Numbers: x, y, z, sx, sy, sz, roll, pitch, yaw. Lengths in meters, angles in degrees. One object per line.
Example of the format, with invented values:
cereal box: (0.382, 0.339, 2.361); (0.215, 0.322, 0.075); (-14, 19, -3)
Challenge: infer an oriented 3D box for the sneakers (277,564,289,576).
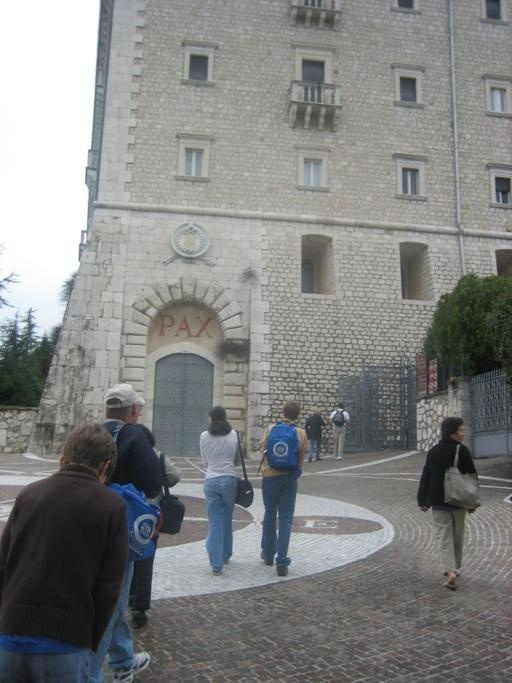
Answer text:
sneakers: (0.230, 1.976, 5.445); (0.045, 0.060, 0.137); (1, -4, 8)

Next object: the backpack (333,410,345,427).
backpack: (2.433, 2.247, 18.398); (0.400, 0.487, 0.258); (1, -8, 13)

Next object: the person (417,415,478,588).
person: (1.706, 1.299, 5.474); (0.472, 1.281, 0.631); (2, -8, 0)

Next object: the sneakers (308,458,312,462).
sneakers: (1.638, 3.527, 18.711); (0.104, 0.189, 0.177); (0, -1, 7)

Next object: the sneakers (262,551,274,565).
sneakers: (0.117, 2.033, 5.917); (0.064, 0.079, 0.178); (1, -2, -1)

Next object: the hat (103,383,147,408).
hat: (-0.818, 0.337, 4.022); (0.152, 0.115, 0.241); (2, -3, 9)

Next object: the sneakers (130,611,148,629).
sneakers: (-0.725, 1.750, 3.965); (0.054, 0.097, 0.132); (0, -3, 7)

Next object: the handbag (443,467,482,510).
handbag: (1.816, 1.296, 5.504); (0.355, 0.377, 0.193); (7, -9, -31)

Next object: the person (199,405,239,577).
person: (-0.342, 1.339, 5.855); (0.374, 1.462, 0.636); (3, -8, -3)
